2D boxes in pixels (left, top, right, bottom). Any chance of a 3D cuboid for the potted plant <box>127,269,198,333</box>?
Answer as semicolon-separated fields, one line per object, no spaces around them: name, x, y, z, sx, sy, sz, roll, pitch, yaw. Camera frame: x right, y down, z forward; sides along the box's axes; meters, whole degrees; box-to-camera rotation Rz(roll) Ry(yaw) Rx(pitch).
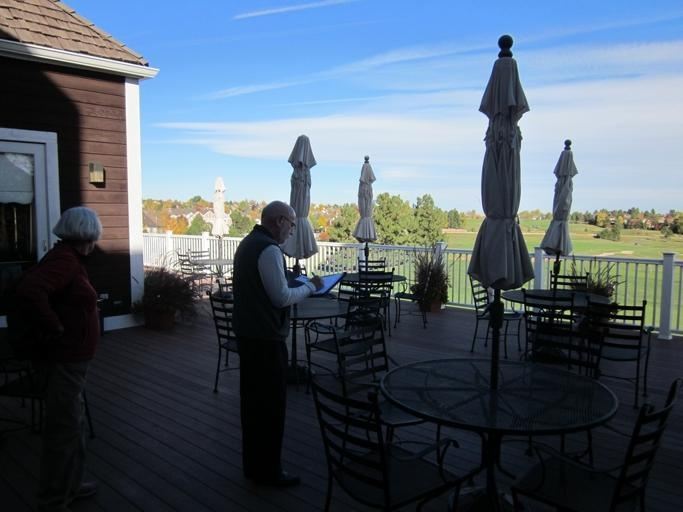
potted plant;-2.973;0.707;8.654;0.906;0.997;0.930;3;0;-24

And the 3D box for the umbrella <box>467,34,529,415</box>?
umbrella;1.333;-0.440;4.252;0.524;2.888;0.743;2;4;17

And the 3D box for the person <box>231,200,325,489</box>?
person;-0.586;0.724;4.238;0.596;2.347;0.333;0;4;-12
